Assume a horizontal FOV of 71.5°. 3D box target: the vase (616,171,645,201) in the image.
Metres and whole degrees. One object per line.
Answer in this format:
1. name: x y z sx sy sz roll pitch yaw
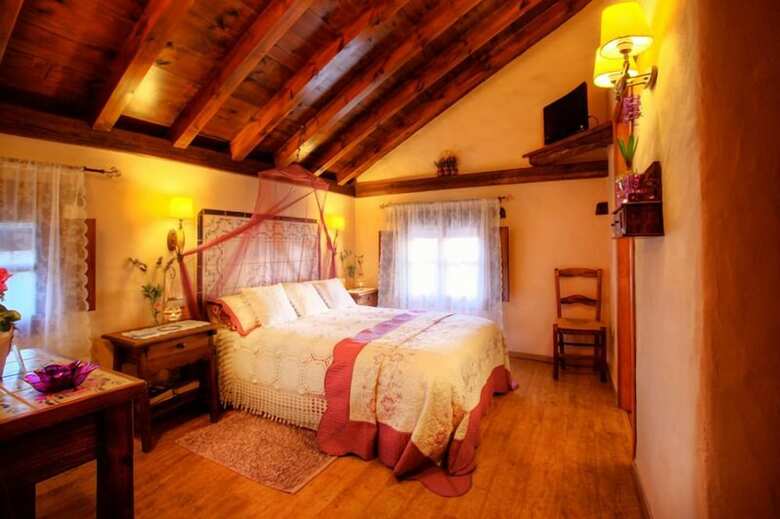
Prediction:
1. vase: 1.693 -0.483 3.830 0.201 0.252 0.218 -1 -1 43

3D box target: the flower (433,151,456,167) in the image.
1. flower: 0.759 -1.342 7.136 0.210 0.076 0.200 -4 39 11

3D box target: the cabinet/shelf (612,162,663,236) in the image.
1. cabinet/shelf: 1.727 -0.365 3.952 0.401 0.719 0.743 0 2 21

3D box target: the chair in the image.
1. chair: 2.159 0.721 6.163 0.568 1.228 0.652 -3 2 22

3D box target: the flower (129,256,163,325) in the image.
1. flower: -2.323 0.297 5.219 0.328 0.658 0.138 -5 2 -36

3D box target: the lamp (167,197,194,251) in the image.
1. lamp: -2.072 -0.335 5.392 0.294 0.543 0.341 -5 2 -28

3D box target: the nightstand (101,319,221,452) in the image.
1. nightstand: -2.006 1.137 5.060 0.806 0.898 0.635 -11 1 -42

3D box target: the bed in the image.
1. bed: -0.218 1.122 4.870 1.631 0.518 1.654 1 6 27

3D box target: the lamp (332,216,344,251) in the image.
1. lamp: -0.706 -0.373 7.442 0.169 0.401 0.514 -4 1 -7

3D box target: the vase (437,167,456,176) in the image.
1. vase: 0.764 -1.164 7.147 0.268 0.111 0.090 -4 1 13

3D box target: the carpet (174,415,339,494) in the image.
1. carpet: -1.124 1.656 4.744 1.321 0.542 0.696 -3 1 27
